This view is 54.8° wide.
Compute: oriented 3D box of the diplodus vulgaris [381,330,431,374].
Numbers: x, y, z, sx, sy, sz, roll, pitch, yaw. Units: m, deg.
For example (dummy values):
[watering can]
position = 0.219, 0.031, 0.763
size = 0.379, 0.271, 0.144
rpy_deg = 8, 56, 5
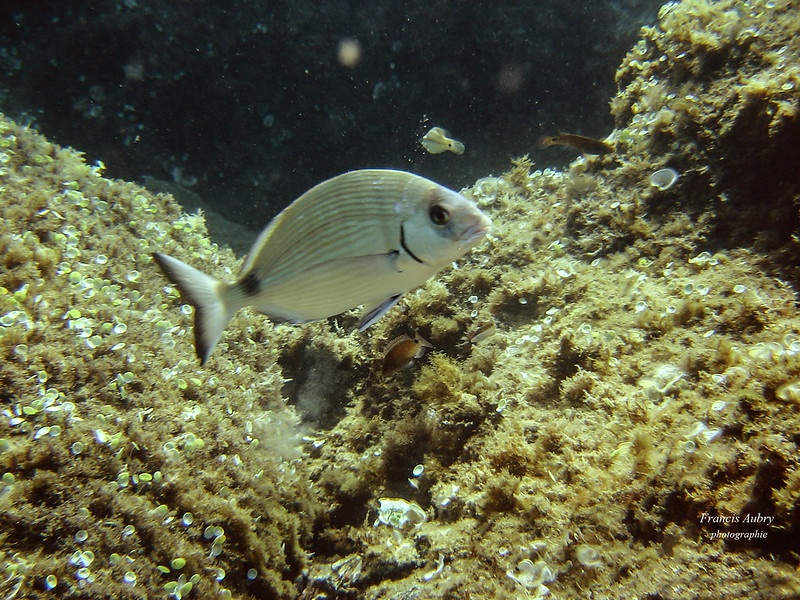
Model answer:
[diplodus vulgaris]
position = 0.013, 0.550, 8.275
size = 0.623, 0.161, 0.348
rpy_deg = -35, 111, -19
